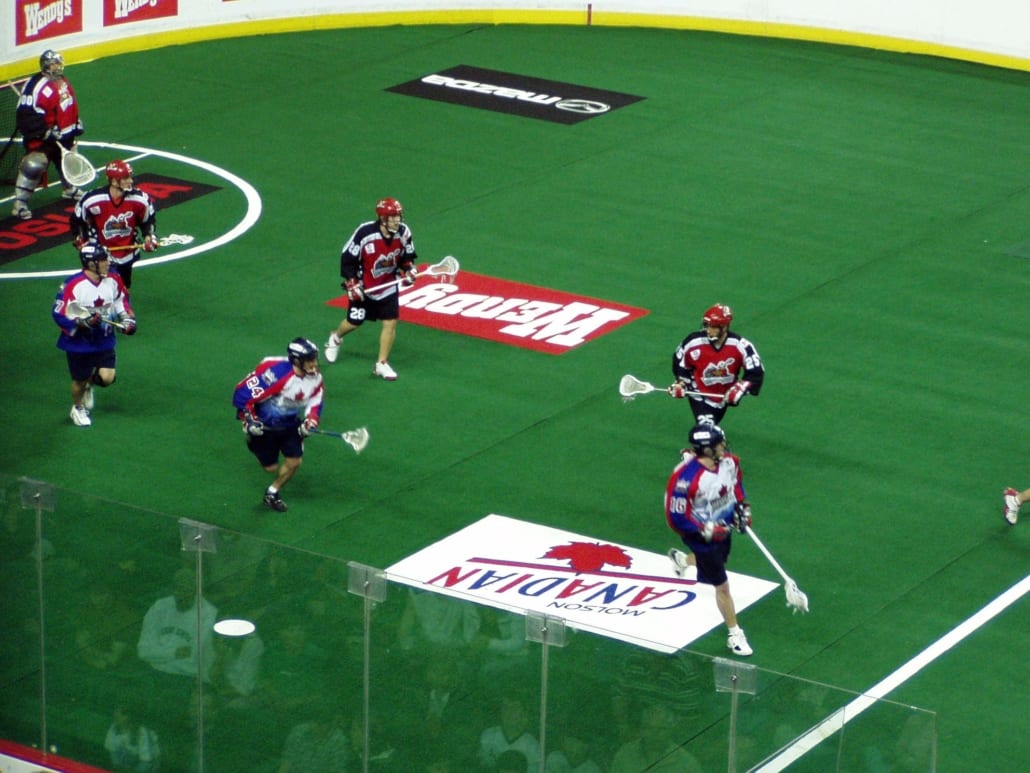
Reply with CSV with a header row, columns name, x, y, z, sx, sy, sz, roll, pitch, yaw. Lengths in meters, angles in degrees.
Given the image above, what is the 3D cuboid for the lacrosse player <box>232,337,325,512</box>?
name,x,y,z,sx,sy,sz,roll,pitch,yaw
lacrosse player,-2.046,0.331,11.784,0.721,1.652,0.656,3,17,-9

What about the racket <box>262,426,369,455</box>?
name,x,y,z,sx,sy,sz,roll,pitch,yaw
racket,-1.611,0.446,12.213,0.565,0.234,0.165,5,-10,1

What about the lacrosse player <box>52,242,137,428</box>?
name,x,y,z,sx,sy,sz,roll,pitch,yaw
lacrosse player,-3.979,-0.446,12.957,0.691,1.843,0.741,0,18,-18

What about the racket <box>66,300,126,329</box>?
name,x,y,z,sx,sy,sz,roll,pitch,yaw
racket,-3.812,-0.625,12.613,0.569,0.140,0.188,21,30,-7

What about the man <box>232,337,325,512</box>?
name,x,y,z,sx,sy,sz,roll,pitch,yaw
man,-2.046,0.331,11.784,0.721,1.652,0.656,3,17,-9

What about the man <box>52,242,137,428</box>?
name,x,y,z,sx,sy,sz,roll,pitch,yaw
man,-3.968,-0.445,12.955,0.692,1.843,0.736,1,17,-16

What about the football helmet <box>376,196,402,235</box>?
name,x,y,z,sx,sy,sz,roll,pitch,yaw
football helmet,-1.282,-1.756,13.963,0.237,0.341,0.476,4,16,-4

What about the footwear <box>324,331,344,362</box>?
name,x,y,z,sx,sy,sz,roll,pitch,yaw
footwear,-1.922,-0.422,14.654,0.145,0.367,0.173,10,-6,-40

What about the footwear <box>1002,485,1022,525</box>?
name,x,y,z,sx,sy,sz,roll,pitch,yaw
footwear,4.393,1.019,12.100,0.148,0.378,0.190,-11,16,-28

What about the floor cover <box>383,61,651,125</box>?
name,x,y,z,sx,sy,sz,roll,pitch,yaw
floor cover,-0.623,-4.855,22.289,3.098,0.022,1.705,6,31,-5

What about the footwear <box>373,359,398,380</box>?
name,x,y,z,sx,sy,sz,roll,pitch,yaw
footwear,-1.379,-0.194,14.439,0.276,0.123,0.135,19,26,41

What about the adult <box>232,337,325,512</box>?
name,x,y,z,sx,sy,sz,roll,pitch,yaw
adult,-2.046,0.331,11.784,0.721,1.652,0.656,3,17,-9

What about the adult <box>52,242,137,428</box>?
name,x,y,z,sx,sy,sz,roll,pitch,yaw
adult,-3.970,-0.447,12.961,0.692,1.843,0.750,1,17,-16

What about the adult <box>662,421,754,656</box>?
name,x,y,z,sx,sy,sz,roll,pitch,yaw
adult,1.458,1.161,10.173,0.767,1.796,0.528,6,17,2

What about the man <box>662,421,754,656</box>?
name,x,y,z,sx,sy,sz,roll,pitch,yaw
man,1.455,1.161,10.173,0.762,1.796,0.528,6,17,2

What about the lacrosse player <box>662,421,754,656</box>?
name,x,y,z,sx,sy,sz,roll,pitch,yaw
lacrosse player,1.455,1.161,10.173,0.762,1.796,0.528,6,17,2
